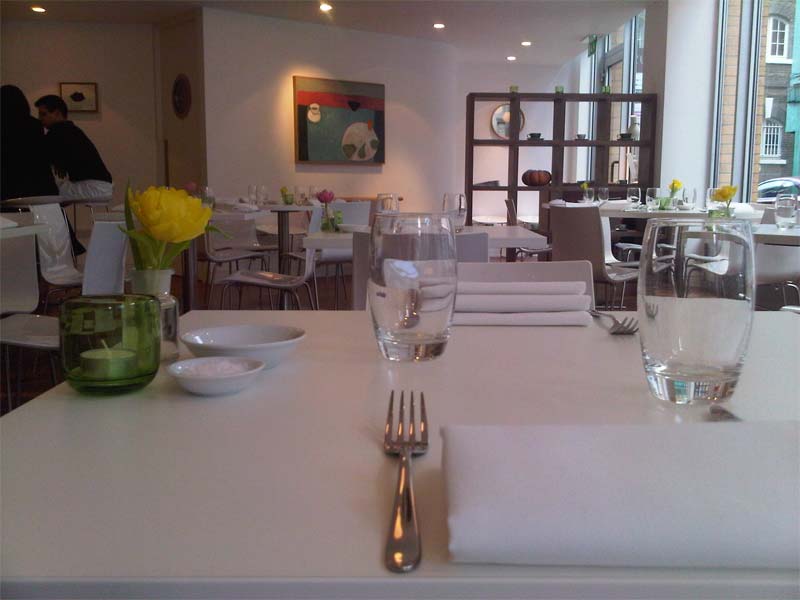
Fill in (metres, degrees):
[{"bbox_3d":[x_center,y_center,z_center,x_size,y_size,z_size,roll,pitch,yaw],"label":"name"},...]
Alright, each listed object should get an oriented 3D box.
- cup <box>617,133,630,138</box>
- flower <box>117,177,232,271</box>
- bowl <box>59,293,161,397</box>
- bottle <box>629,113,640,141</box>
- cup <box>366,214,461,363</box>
[{"bbox_3d":[2.339,-1.703,6.745,0.125,0.063,0.112,3,13,17],"label":"cup"},{"bbox_3d":[-0.306,-0.083,0.843,0.126,0.143,0.129,7,10,3],"label":"flower"},{"bbox_3d":[-0.295,0.040,0.671,0.091,0.096,0.094,2,0,0],"label":"bowl"},{"bbox_3d":[2.525,-1.843,6.968,0.114,0.250,0.595,3,13,19],"label":"bottle"},{"bbox_3d":[0.007,-0.021,0.815,0.147,0.239,0.143,1,5,0],"label":"cup"}]
